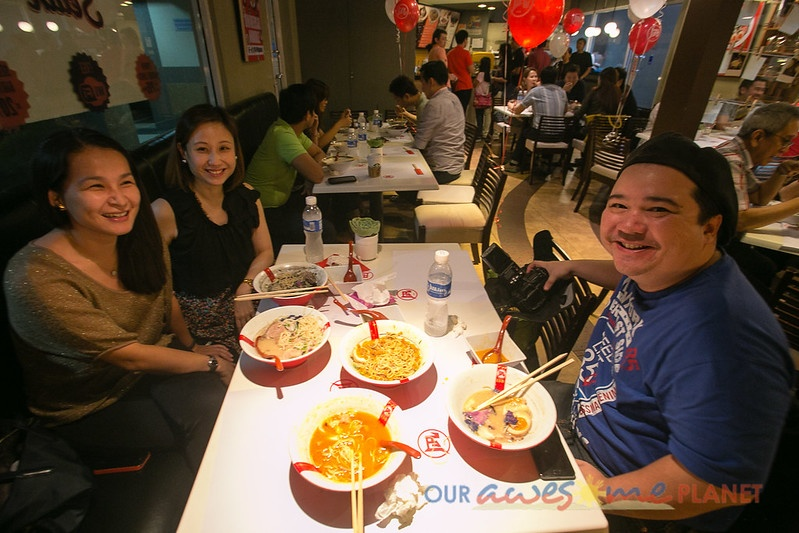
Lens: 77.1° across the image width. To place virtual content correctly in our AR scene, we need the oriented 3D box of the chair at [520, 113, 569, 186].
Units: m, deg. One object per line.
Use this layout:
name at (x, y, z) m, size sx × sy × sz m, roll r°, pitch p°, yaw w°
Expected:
chair at (2.232, -1.667, 7.265) m, size 0.490 × 0.875 × 0.582 m, roll 6°, pitch 7°, yaw 17°

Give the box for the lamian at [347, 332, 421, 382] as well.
lamian at (-0.062, 0.475, 2.570) m, size 0.228 × 0.057 × 0.219 m, roll -2°, pitch 38°, yaw -4°

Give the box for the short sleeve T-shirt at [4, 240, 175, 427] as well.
short sleeve T-shirt at (-1.682, 0.370, 2.656) m, size 0.483 × 0.745 × 0.805 m, roll 1°, pitch 22°, yaw 5°

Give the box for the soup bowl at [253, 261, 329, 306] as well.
soup bowl at (-0.650, 0.080, 2.993) m, size 0.301 × 0.111 × 0.307 m, roll 0°, pitch 35°, yaw 0°

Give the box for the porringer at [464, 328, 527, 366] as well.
porringer at (0.466, 0.439, 2.599) m, size 0.232 × 0.077 × 0.252 m, roll -20°, pitch 19°, yaw -13°

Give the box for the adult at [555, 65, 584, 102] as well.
adult at (3.045, -3.099, 8.677) m, size 0.354 × 0.709 × 0.378 m, roll -4°, pitch 46°, yaw 12°

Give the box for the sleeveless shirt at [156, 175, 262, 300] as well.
sleeveless shirt at (-1.253, -0.170, 3.235) m, size 0.352 × 0.605 × 0.667 m, roll 21°, pitch 27°, yaw 30°

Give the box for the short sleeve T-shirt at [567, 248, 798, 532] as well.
short sleeve T-shirt at (1.297, 0.616, 2.321) m, size 0.665 × 0.920 × 1.216 m, roll 1°, pitch 29°, yaw 8°

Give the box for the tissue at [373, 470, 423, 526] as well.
tissue at (0.000, 0.993, 2.132) m, size 0.164 × 0.053 × 0.190 m, roll 30°, pitch 67°, yaw 33°

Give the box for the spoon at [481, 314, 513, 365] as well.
spoon at (0.538, 0.352, 2.657) m, size 0.084 × 0.053 × 0.363 m, roll 8°, pitch 49°, yaw 38°

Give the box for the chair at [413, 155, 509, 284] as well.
chair at (0.547, -0.531, 4.917) m, size 0.802 × 1.098 × 0.657 m, roll -3°, pitch 37°, yaw -5°

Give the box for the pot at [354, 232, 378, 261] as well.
pot at (-0.193, -0.117, 3.245) m, size 0.162 × 0.166 × 0.157 m, roll 0°, pitch 37°, yaw 0°

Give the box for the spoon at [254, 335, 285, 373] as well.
spoon at (-0.668, 0.429, 2.558) m, size 0.123 × 0.078 × 0.180 m, roll -12°, pitch 52°, yaw -18°

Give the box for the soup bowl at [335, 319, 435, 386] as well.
soup bowl at (-0.071, 0.455, 2.587) m, size 0.357 × 0.104 × 0.342 m, roll -1°, pitch 46°, yaw 1°

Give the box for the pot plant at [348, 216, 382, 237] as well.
pot plant at (-0.239, -0.287, 3.648) m, size 0.292 × 0.137 × 0.312 m, roll 0°, pitch 13°, yaw -9°
